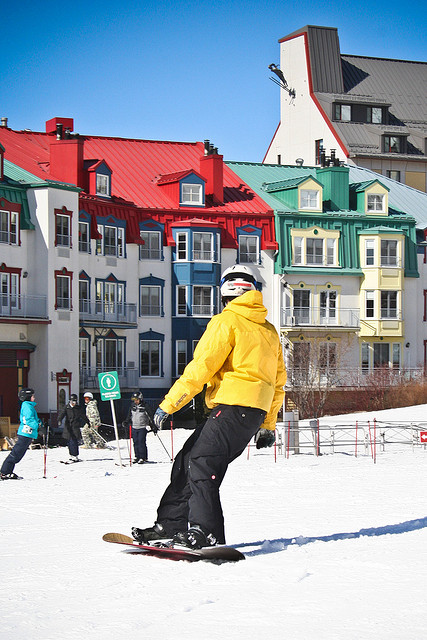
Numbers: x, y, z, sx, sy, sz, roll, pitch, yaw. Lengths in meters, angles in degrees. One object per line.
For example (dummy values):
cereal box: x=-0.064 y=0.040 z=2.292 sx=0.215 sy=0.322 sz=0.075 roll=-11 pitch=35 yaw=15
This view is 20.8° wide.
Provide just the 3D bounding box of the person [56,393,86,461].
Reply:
person: x=-3.009 y=2.257 z=24.535 sx=0.482 sy=1.383 sz=1.904 roll=0 pitch=-5 yaw=-7

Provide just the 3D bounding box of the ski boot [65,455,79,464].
ski boot: x=-2.963 y=2.908 z=24.399 sx=0.307 sy=0.244 sz=0.107 roll=4 pitch=2 yaw=40

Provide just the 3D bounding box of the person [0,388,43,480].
person: x=-3.162 y=1.857 z=19.217 sx=0.644 sy=1.469 sz=1.565 roll=0 pitch=-5 yaw=-9

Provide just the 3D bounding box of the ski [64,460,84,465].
ski: x=-2.889 y=2.940 z=24.146 sx=0.396 sy=0.074 sz=0.015 roll=3 pitch=0 yaw=-43

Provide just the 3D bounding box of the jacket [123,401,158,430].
jacket: x=-1.506 y=1.912 z=23.515 sx=0.510 sy=0.559 sz=0.910 roll=1 pitch=-5 yaw=-9

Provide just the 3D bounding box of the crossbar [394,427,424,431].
crossbar: x=4.902 y=2.704 z=28.922 sx=0.628 sy=0.081 sz=0.996 roll=-1 pitch=-5 yaw=8

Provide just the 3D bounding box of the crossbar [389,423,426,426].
crossbar: x=5.055 y=2.675 z=29.904 sx=0.794 sy=0.071 sz=2.174 roll=-1 pitch=-5 yaw=2

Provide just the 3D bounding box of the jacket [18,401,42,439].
jacket: x=-2.984 y=1.621 z=18.886 sx=0.418 sy=0.732 sz=0.545 roll=0 pitch=-5 yaw=-23

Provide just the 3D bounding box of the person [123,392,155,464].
person: x=-1.491 y=2.143 z=23.551 sx=0.575 sy=1.546 sz=0.409 roll=2 pitch=17 yaw=10

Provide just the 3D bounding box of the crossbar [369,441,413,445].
crossbar: x=4.201 y=2.935 z=27.866 sx=0.812 sy=0.064 sz=1.908 roll=-2 pitch=-6 yaw=22

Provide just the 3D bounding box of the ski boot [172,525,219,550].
ski boot: x=-0.143 y=1.632 z=8.830 sx=0.312 sy=0.174 sz=0.154 roll=-4 pitch=7 yaw=-11

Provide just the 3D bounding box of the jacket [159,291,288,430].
jacket: x=0.186 y=0.327 z=9.191 sx=1.011 sy=1.158 sz=0.498 roll=10 pitch=-5 yaw=-29

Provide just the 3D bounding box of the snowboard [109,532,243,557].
snowboard: x=-0.368 y=1.749 z=9.090 sx=1.272 sy=0.144 sz=0.340 roll=-4 pitch=-7 yaw=38

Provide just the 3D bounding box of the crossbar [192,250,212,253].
crossbar: x=-0.561 y=-2.997 z=51.336 sx=0.740 sy=0.134 sz=0.054 roll=0 pitch=0 yaw=3

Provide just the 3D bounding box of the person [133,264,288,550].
person: x=0.026 y=0.640 z=9.156 sx=1.228 sy=2.240 sz=0.893 roll=1 pitch=-5 yaw=-20
